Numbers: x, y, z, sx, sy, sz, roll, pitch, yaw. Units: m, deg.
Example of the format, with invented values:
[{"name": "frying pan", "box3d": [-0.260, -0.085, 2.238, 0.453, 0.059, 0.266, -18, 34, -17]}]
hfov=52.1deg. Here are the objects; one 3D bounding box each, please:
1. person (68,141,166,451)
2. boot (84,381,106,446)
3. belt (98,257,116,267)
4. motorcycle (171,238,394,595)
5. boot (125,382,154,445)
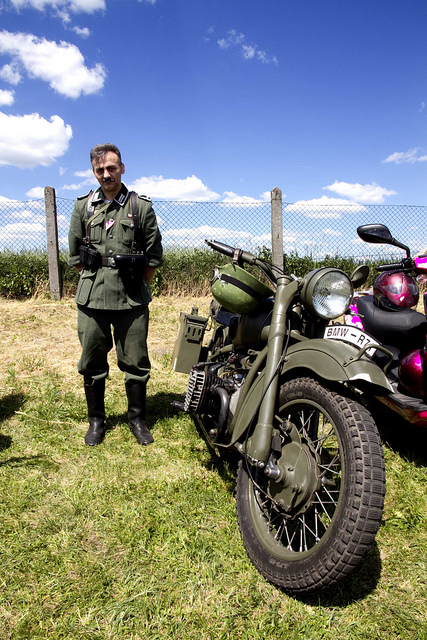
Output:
[{"name": "person", "box3d": [-0.703, -0.174, 3.106, 0.670, 2.066, 0.510, 1, 8, -10]}, {"name": "boot", "box3d": [-0.848, 0.668, 3.137, 0.134, 0.380, 0.273, 0, 8, -17]}, {"name": "belt", "box3d": [-0.728, -0.399, 3.001, 0.082, 0.086, 0.033, 4, -6, 9]}, {"name": "motorcycle", "box3d": [0.282, 0.289, 2.607, 0.652, 1.450, 2.286, 12, 5, -14]}, {"name": "boot", "box3d": [-0.538, 0.673, 3.197, 0.189, 0.377, 0.328, 0, 9, -16]}]
